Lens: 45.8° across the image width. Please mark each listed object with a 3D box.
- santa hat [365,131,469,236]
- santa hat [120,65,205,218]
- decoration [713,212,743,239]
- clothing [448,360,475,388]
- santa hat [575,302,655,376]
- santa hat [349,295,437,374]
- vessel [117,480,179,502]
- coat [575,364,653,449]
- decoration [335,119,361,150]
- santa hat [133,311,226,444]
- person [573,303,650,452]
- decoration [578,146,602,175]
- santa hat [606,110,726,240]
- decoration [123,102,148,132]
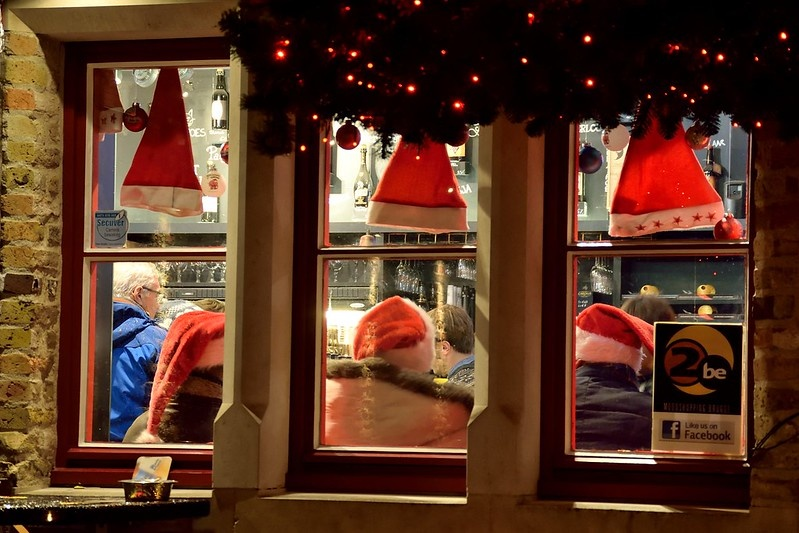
[{"bbox_3d":[0.119,-0.452,4.802,0.478,0.607,0.323,5,-10,-2],"label":"santa hat"},{"bbox_3d":[-1.185,-0.637,4.860,0.448,0.799,0.119,3,37,-19],"label":"santa hat"},{"bbox_3d":[1.540,-0.195,4.438,0.107,0.133,0.107,1,1,-23],"label":"decoration"},{"bbox_3d":[0.306,0.524,4.558,0.131,0.125,0.111,5,-11,5],"label":"clothing"},{"bbox_3d":[1.018,0.349,4.529,0.345,0.198,0.302,4,2,-2],"label":"santa hat"},{"bbox_3d":[-0.006,0.351,4.713,0.411,0.407,0.321,-4,-5,3],"label":"santa hat"},{"bbox_3d":[-1.103,0.992,4.165,0.150,0.057,0.159,0,-5,23],"label":"vessel"},{"bbox_3d":[1.034,0.687,4.498,0.372,0.381,0.208,0,-2,16],"label":"coat"},{"bbox_3d":[-0.177,-0.491,3.593,0.097,0.138,0.098,2,-1,-19],"label":"decoration"},{"bbox_3d":[-1.083,0.596,4.778,0.491,0.682,0.252,5,-14,31],"label":"santa hat"},{"bbox_3d":[1.015,0.555,4.508,0.455,0.315,0.625,1,33,4],"label":"person"},{"bbox_3d":[0.919,-0.510,4.569,0.119,0.146,0.118,-6,1,-10],"label":"decoration"},{"bbox_3d":[1.238,-0.436,4.408,0.573,0.076,0.774,-7,-43,14],"label":"santa hat"},{"bbox_3d":[-1.363,-0.767,4.901,0.137,0.172,0.141,2,5,12],"label":"decoration"}]
